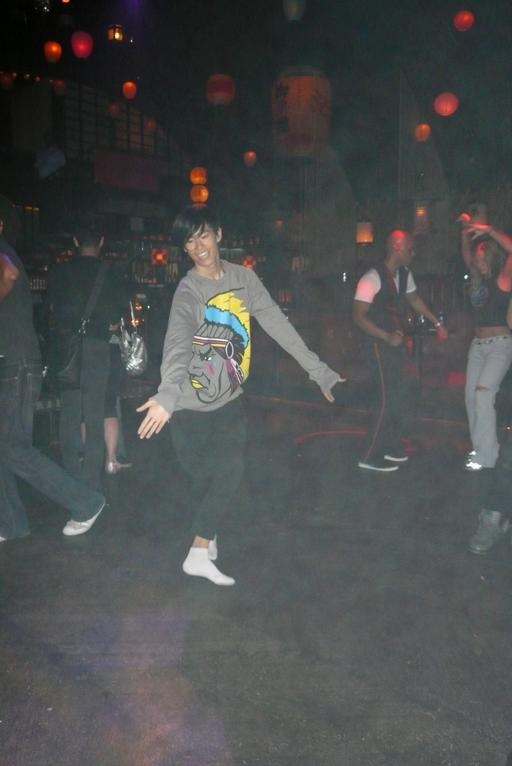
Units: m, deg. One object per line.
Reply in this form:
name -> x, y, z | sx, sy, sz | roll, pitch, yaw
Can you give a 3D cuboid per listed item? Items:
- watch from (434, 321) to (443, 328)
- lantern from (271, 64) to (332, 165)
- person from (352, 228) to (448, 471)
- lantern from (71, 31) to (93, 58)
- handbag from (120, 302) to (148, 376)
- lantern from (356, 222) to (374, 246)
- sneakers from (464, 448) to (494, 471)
watch -> 1.484, -0.476, 5.271 | 0.056, 0.060, 0.067 | -1, 92, -19
lantern -> 0.533, -3.168, 7.621 | 0.656, 0.627, 1.085 | -1, 97, 6
person -> 1.026, -0.153, 5.117 | 0.729, 1.422, 1.641 | 9, 68, 0
lantern -> -2.912, -5.639, 10.803 | 0.281, 0.419, 0.432 | -3, 69, -6
handbag -> -0.842, -0.277, 4.404 | 0.189, 0.581, 0.172 | -20, 52, -21
lantern -> 1.970, -2.724, 11.770 | 0.295, 0.321, 0.359 | 2, 99, 4
sneakers -> 1.624, 0.570, 4.787 | 0.111, 0.403, 0.174 | -9, 80, 3
